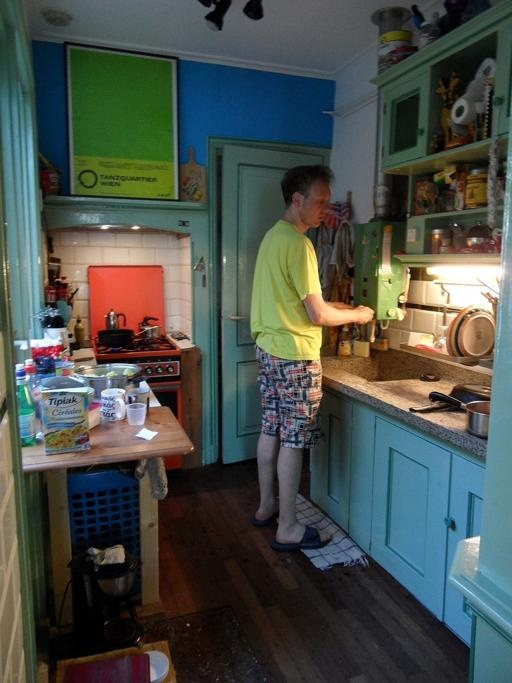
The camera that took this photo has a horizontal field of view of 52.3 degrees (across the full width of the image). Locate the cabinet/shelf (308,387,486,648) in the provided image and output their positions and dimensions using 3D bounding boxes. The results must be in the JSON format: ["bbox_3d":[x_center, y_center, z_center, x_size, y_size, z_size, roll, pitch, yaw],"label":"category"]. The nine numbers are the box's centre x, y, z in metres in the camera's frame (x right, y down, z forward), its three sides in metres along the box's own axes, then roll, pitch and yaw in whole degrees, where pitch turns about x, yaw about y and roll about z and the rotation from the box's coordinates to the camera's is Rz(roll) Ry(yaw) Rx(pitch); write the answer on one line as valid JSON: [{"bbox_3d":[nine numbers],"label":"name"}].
[{"bbox_3d":[0.738,0.604,2.305,0.563,0.655,1.048,-1,10,-24],"label":"cabinet/shelf"}]

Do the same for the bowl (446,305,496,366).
[{"bbox_3d":[0.876,-0.024,2.136,0.214,0.242,0.145,1,8,7],"label":"bowl"}]

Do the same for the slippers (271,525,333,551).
[{"bbox_3d":[0.220,0.889,2.419,0.217,0.081,0.112,-2,2,-4],"label":"slippers"}]

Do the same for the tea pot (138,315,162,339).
[{"bbox_3d":[-0.696,-0.091,3.482,0.181,0.169,0.132,4,5,35],"label":"tea pot"}]

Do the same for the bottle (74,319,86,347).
[{"bbox_3d":[-1.123,-0.065,3.357,0.064,0.169,0.222,-3,9,-18],"label":"bottle"}]

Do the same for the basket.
[{"bbox_3d":[-0.527,0.668,1.937,0.227,0.360,0.216,-9,-5,-21],"label":"basket"}]

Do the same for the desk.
[{"bbox_3d":[-0.414,0.573,1.975,0.732,0.786,0.658,-4,12,-18],"label":"desk"}]

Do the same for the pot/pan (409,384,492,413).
[{"bbox_3d":[0.701,0.204,1.879,0.242,0.063,0.144,-6,5,-17],"label":"pot/pan"}]

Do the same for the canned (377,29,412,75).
[{"bbox_3d":[0.621,-1.273,2.302,0.169,0.160,0.146,-7,9,-9],"label":"canned"}]

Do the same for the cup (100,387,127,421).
[{"bbox_3d":[-0.496,0.225,1.819,0.073,0.101,0.115,0,5,-28],"label":"cup"}]

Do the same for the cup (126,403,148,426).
[{"bbox_3d":[-0.405,0.249,1.792,0.063,0.054,0.074,2,-6,-30],"label":"cup"}]

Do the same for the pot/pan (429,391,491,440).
[{"bbox_3d":[0.693,0.230,1.788,0.143,0.103,0.347,1,7,-18],"label":"pot/pan"}]

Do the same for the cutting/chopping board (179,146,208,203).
[{"bbox_3d":[-0.396,-1.038,3.243,0.186,0.327,0.008,-5,13,-26],"label":"cutting/chopping board"}]

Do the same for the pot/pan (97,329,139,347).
[{"bbox_3d":[-0.841,-0.021,3.179,0.224,0.109,0.292,-2,9,-16],"label":"pot/pan"}]

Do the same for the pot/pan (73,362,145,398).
[{"bbox_3d":[-0.540,0.118,1.911,0.150,0.057,0.159,-1,8,-3],"label":"pot/pan"}]
